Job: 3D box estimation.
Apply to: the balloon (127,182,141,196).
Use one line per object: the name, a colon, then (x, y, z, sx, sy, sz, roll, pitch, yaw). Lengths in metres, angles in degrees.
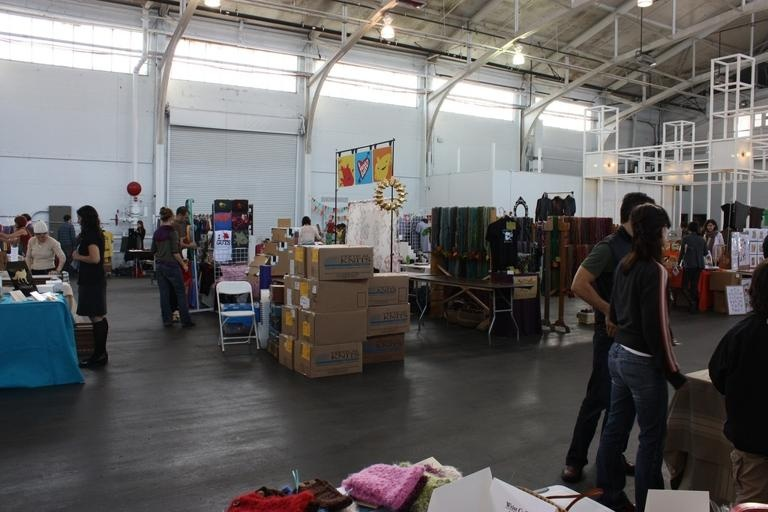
balloon: (-6.465, -1.742, 14.382, 0.348, 0.401, 0.420, -4, 11, -27)

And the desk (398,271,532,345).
desk: (1.515, 0.868, 9.626, 0.715, 0.872, 2.226, -1, 1, -24)

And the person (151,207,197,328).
person: (-3.447, 0.184, 9.048, 0.537, 1.953, 0.798, -3, 11, -23)

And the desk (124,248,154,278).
desk: (-6.445, 0.150, 14.512, 0.710, 0.701, 0.726, 4, 4, 39)

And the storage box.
storage box: (-0.620, 0.605, 7.705, 1.779, 1.796, 1.532, -1, 2, -38)

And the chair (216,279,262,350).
chair: (-2.206, 0.836, 8.441, 0.782, 1.432, 1.036, 0, -1, -22)

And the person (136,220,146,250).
person: (-6.366, -0.576, 14.534, 0.156, 0.731, 0.454, 0, 10, -3)

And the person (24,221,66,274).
person: (-5.015, -0.151, 8.142, 0.461, 0.818, 0.858, -6, 12, -34)

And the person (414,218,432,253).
person: (1.019, -0.532, 13.550, 0.311, 0.751, 0.461, 7, 11, 30)
